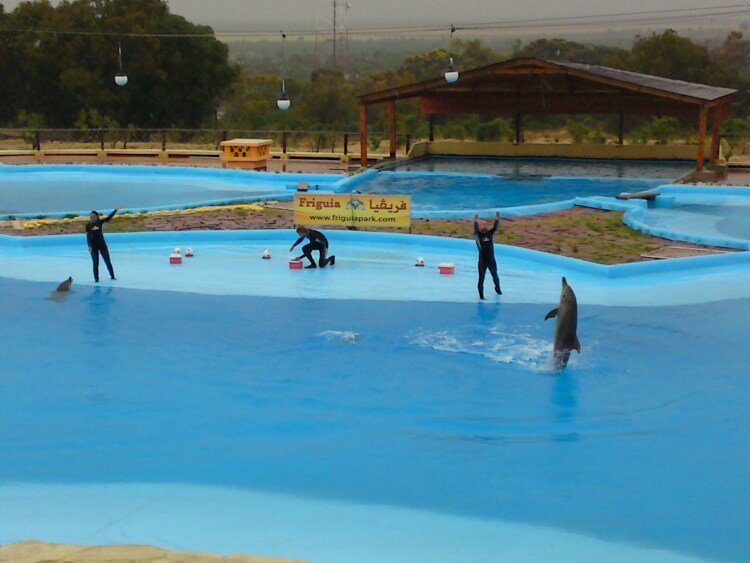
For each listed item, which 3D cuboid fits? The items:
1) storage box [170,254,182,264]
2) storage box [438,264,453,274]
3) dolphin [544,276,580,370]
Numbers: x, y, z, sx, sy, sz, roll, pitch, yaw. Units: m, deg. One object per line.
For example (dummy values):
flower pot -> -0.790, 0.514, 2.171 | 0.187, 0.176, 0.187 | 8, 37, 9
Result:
storage box -> -4.891, -0.578, 30.524 | 0.252, 0.212, 0.252 | 0, 4, -15
storage box -> 1.702, -0.327, 29.570 | 0.249, 0.153, 0.248 | 0, 5, 7
dolphin -> 3.771, 0.794, 24.660 | 0.804, 1.743, 0.699 | 2, 14, 4
